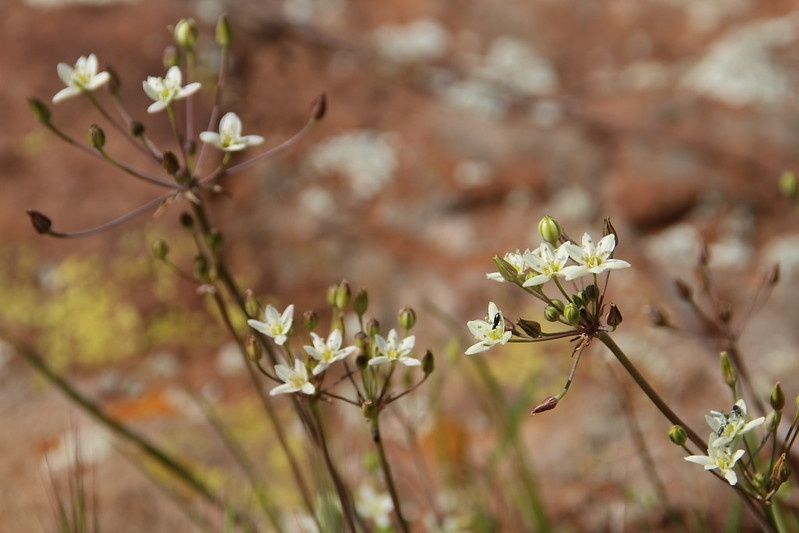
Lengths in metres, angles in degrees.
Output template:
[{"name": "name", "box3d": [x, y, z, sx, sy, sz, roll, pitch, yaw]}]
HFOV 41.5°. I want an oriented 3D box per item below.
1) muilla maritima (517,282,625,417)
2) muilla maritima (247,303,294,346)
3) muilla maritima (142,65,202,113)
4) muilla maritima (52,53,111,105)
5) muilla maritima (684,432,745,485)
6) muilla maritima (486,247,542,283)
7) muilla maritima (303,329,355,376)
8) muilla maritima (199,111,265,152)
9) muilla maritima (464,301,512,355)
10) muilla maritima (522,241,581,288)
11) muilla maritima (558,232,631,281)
[{"name": "muilla maritima", "box3d": [0.459, 0.102, 2.755, 0.264, 0.402, 0.209, -32, -57, 30]}, {"name": "muilla maritima", "box3d": [-0.305, 0.153, 2.686, 0.100, 0.085, 0.059, -7, -93, -13]}, {"name": "muilla maritima", "box3d": [-0.608, -0.462, 2.831, 0.171, 0.173, 0.089, 6, -89, 17]}, {"name": "muilla maritima", "box3d": [-0.841, -0.505, 2.836, 0.164, 0.187, 0.086, 10, -89, -2]}, {"name": "muilla maritima", "box3d": [0.791, 0.495, 2.627, 0.167, 0.194, 0.100, -15, -96, 30]}, {"name": "muilla maritima", "box3d": [0.292, 0.002, 2.683, 0.121, 0.145, 0.083, -14, -72, -15]}, {"name": "muilla maritima", "box3d": [-0.172, 0.211, 2.657, 0.109, 0.120, 0.061, 10, -72, 30]}, {"name": "muilla maritima", "box3d": [-0.457, -0.353, 2.843, 0.151, 0.120, 0.079, -5, -101, 38]}, {"name": "muilla maritima", "box3d": [0.239, 0.162, 2.648, 0.097, 0.119, 0.054, 1, -53, 6]}, {"name": "muilla maritima", "box3d": [0.372, -0.008, 2.622, 0.100, 0.128, 0.058, -25, -29, 13]}, {"name": "muilla maritima", "box3d": [0.484, -0.030, 2.651, 0.162, 0.202, 0.081, 2, -102, -18]}]
